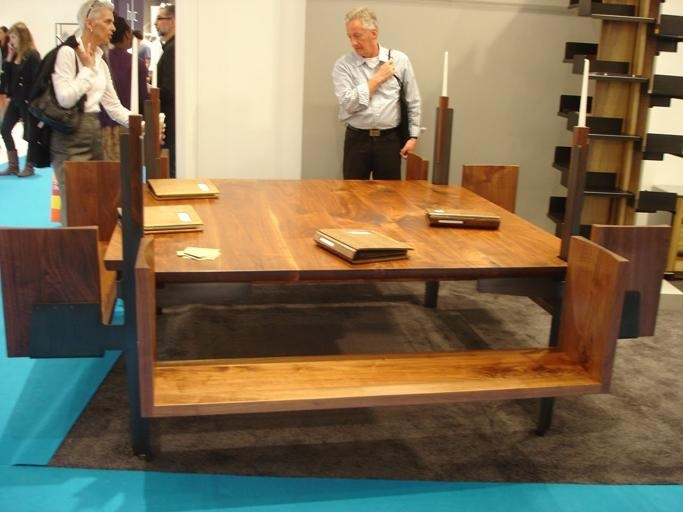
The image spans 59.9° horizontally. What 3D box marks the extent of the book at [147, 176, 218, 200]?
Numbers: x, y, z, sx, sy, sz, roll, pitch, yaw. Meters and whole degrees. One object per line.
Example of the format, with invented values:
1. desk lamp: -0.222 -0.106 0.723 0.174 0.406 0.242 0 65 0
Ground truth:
1. book: -0.871 -0.369 3.223 0.249 0.033 0.217 -6 28 -31

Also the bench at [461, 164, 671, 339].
1. bench: 1.139 -0.020 3.015 0.937 0.495 1.260 -1 18 -7

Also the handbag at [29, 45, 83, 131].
1. handbag: -1.861 -1.082 3.839 0.348 0.573 0.144 -6 18 -15
